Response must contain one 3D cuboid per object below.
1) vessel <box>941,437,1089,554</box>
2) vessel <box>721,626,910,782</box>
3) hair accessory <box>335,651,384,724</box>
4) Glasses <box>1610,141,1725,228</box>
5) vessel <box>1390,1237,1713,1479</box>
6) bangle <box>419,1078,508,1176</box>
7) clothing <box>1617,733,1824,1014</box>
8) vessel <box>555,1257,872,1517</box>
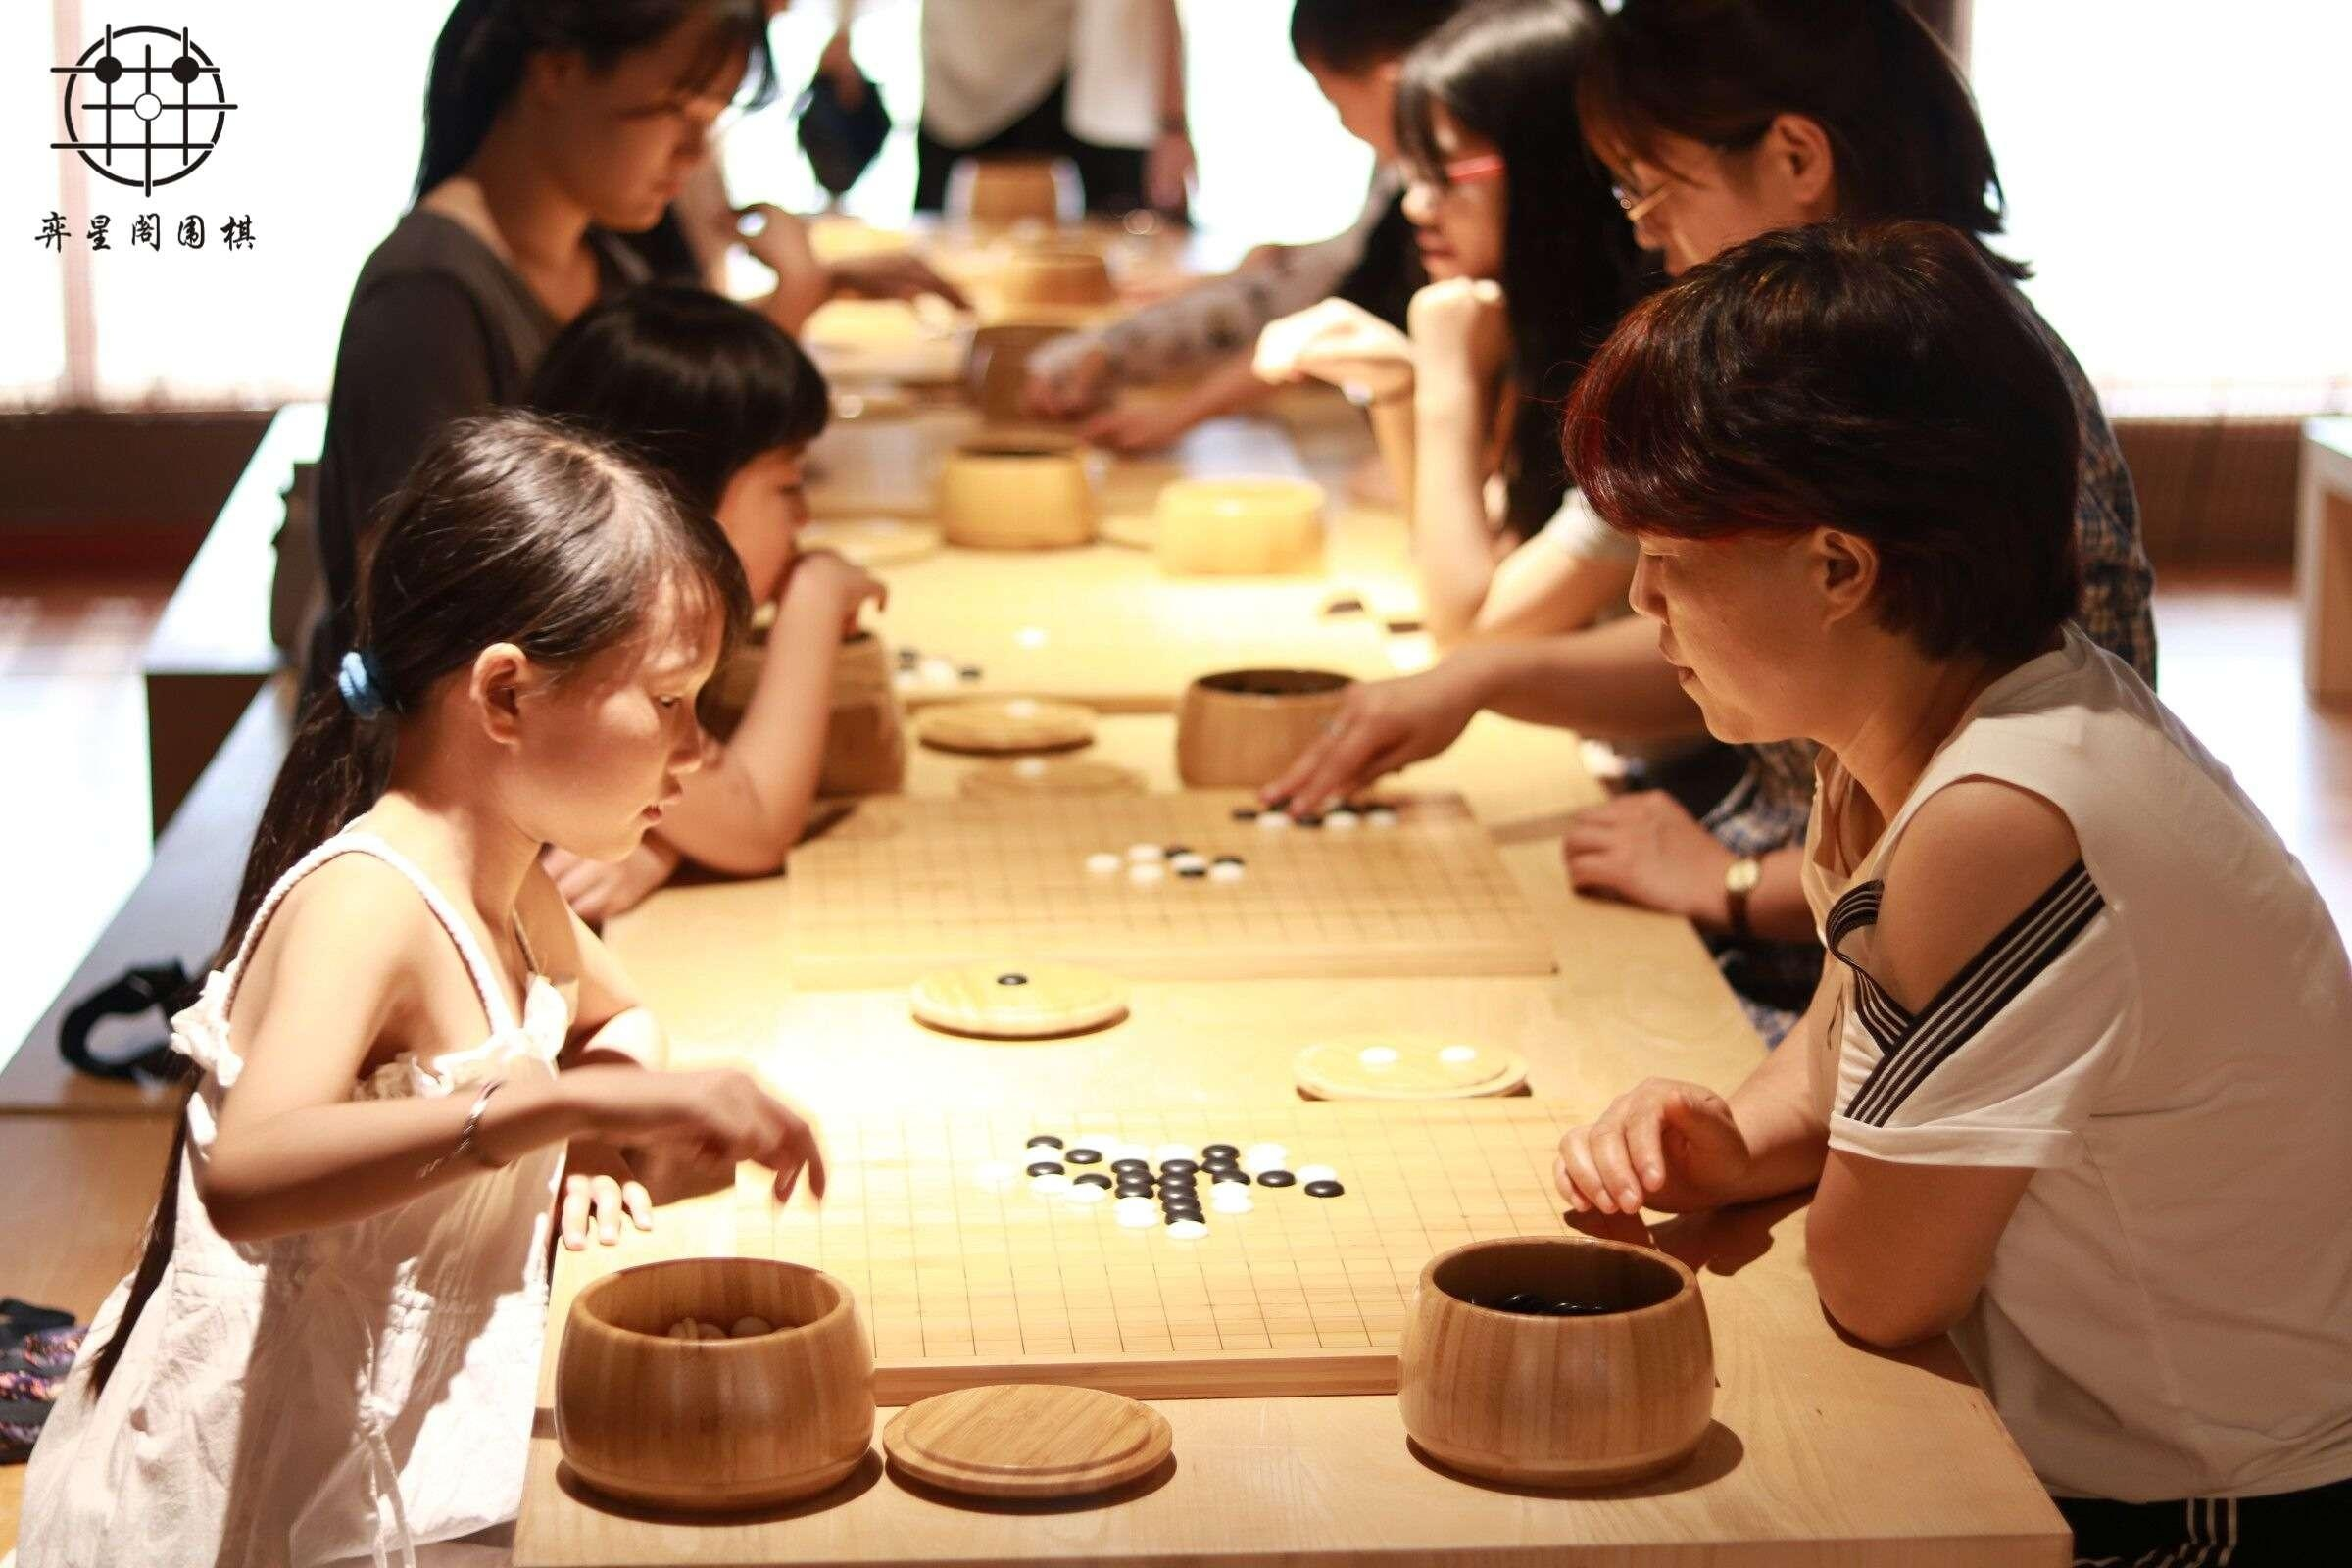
[{"bbox_3d":[-0.282,-0.512,3.010,0.226,0.117,0.227,-1,12,-4],"label":"vessel"},{"bbox_3d":[-0.444,-0.108,2.131,0.206,0.159,0.197,0,7,-3],"label":"vessel"},{"bbox_3d":[-0.604,-0.070,1.290,0.021,0.041,0.051,-4,56,-37],"label":"hair accessory"},{"bbox_3d":[0.523,-0.636,1.847,0.112,0.051,0.143,-2,0,4],"label":"Glasses"},{"bbox_3d":[0.226,0.329,1.015,0.175,0.094,0.169,-2,5,-3],"label":"vessel"},{"bbox_3d":[-0.455,0.220,1.119,0.014,0.052,0.052,26,33,-5],"label":"bangle"},{"bbox_3d":[0.690,0.108,2.107,0.113,0.310,0.246,2,-16,-18],"label":"clothing"},{"bbox_3d":[-0.253,0.330,0.959,0.148,0.100,0.118,10,17,33],"label":"vessel"}]
